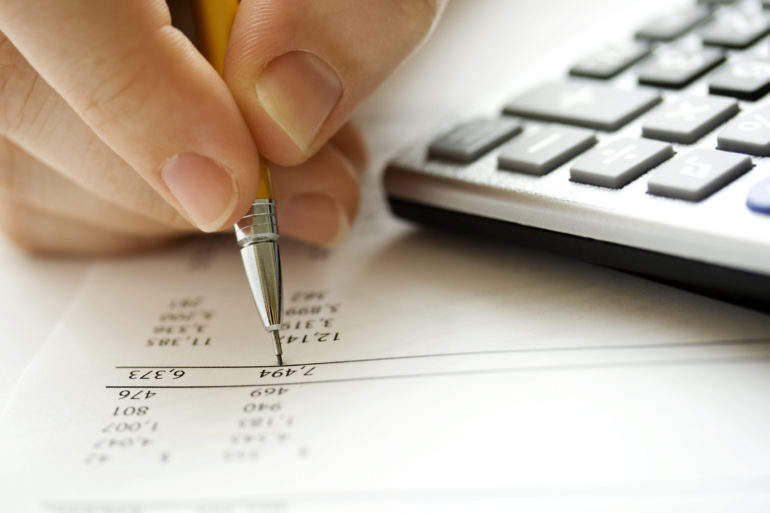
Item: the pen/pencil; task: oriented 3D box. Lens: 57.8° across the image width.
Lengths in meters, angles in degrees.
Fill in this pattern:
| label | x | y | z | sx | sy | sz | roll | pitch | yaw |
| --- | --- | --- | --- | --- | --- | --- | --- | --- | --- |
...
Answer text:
| label | x | y | z | sx | sy | sz | roll | pitch | yaw |
| --- | --- | --- | --- | --- | --- | --- | --- | --- | --- |
| pen/pencil | -0.074 | -0.001 | 0.385 | 0.021 | 0.018 | 0.122 | -18 | 57 | 12 |
